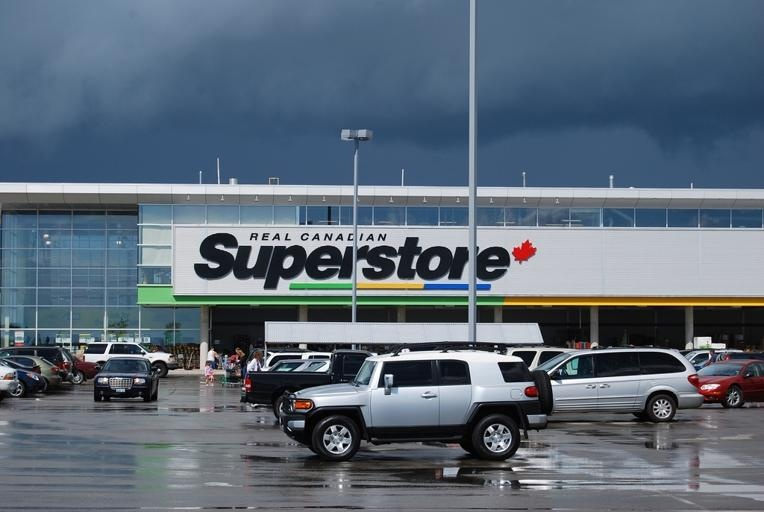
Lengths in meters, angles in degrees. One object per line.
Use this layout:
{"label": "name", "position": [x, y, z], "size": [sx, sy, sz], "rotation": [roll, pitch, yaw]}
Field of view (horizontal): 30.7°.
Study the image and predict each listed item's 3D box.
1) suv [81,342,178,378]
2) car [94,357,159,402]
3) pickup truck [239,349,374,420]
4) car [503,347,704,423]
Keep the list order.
{"label": "suv", "position": [-13.794, 5.503, 76.273], "size": [5.284, 1.709, 2.189], "rotation": [1, 0, 2]}
{"label": "car", "position": [-11.330, 5.188, 61.938], "size": [2.716, 1.584, 4.714], "rotation": [2, 4, -5]}
{"label": "pickup truck", "position": [-0.982, 5.059, 53.396], "size": [8.147, 2.790, 3.535], "rotation": [-3, -8, 32]}
{"label": "car", "position": [9.003, 4.873, 54.948], "size": [6.677, 2.948, 2.802], "rotation": [0, -2, -1]}
